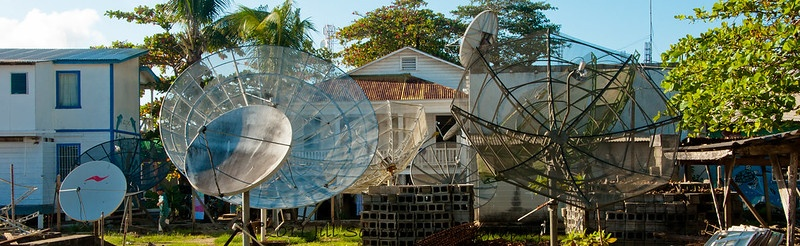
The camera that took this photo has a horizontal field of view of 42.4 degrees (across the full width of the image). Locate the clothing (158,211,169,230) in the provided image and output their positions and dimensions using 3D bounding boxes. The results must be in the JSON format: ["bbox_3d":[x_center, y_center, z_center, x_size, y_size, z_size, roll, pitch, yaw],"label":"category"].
[{"bbox_3d":[-23.112,9.633,101.241,1.074,1.973,1.331,2,-12,-12],"label":"clothing"}]

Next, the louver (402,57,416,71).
[{"bbox_3d":[0.935,-6.284,109.653,2.179,1.250,0.232,0,-10,-3],"label":"louver"}]

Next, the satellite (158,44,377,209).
[{"bbox_3d":[-9.803,1.481,90.362,8.933,14.863,16.706,3,30,21],"label":"satellite"}]

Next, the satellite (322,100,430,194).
[{"bbox_3d":[-1.905,3.096,100.994,9.741,5.105,9.329,0,-16,11],"label":"satellite"}]

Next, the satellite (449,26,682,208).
[{"bbox_3d":[15.016,-0.075,92.600,17.011,15.454,4.708,-1,-13,1],"label":"satellite"}]
